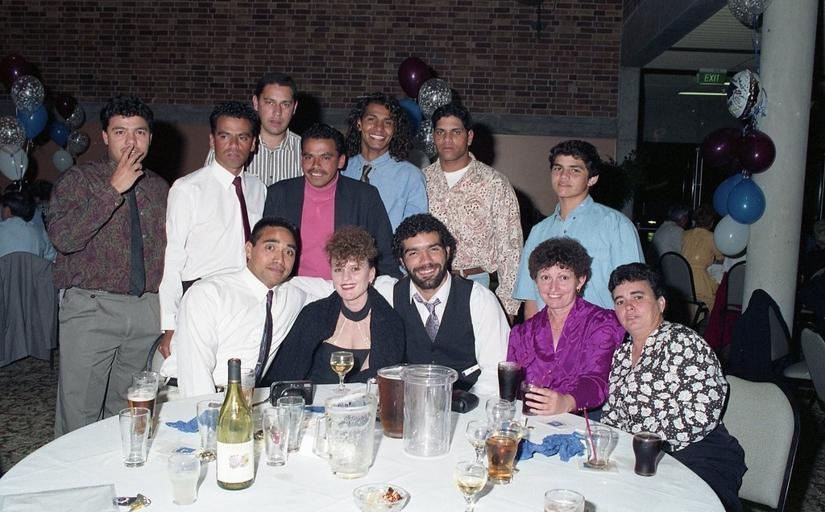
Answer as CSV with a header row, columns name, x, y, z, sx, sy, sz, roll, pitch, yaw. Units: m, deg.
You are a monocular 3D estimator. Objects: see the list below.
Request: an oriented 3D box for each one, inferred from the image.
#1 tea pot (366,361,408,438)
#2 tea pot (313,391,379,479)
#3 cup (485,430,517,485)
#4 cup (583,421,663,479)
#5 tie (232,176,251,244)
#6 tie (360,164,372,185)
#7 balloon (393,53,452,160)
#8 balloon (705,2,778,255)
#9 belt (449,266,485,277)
name,x,y,z,sx,sy,sz,roll,pitch,yaw
tea pot,-0.113,0.769,3.096,0.304,0.319,0.209,-1,3,20
tea pot,-0.292,0.853,2.948,0.375,0.393,0.245,-4,7,-33
cup,0.470,0.973,2.992,0.203,0.305,0.213,-1,1,0
cup,1.049,0.976,3.036,0.431,0.236,0.202,-1,-4,16
tie,-1.292,-0.324,4.532,0.059,0.531,0.076,-6,4,14
tie,-0.370,-0.659,4.966,0.096,0.173,0.052,21,9,22
balloon,0.124,-1.914,7.478,0.726,1.530,0.565,0,-10,2
balloon,3.531,-1.295,6.505,0.694,1.992,1.552,3,2,26
belt,0.474,0.134,4.947,0.165,0.042,0.118,-6,20,-6
